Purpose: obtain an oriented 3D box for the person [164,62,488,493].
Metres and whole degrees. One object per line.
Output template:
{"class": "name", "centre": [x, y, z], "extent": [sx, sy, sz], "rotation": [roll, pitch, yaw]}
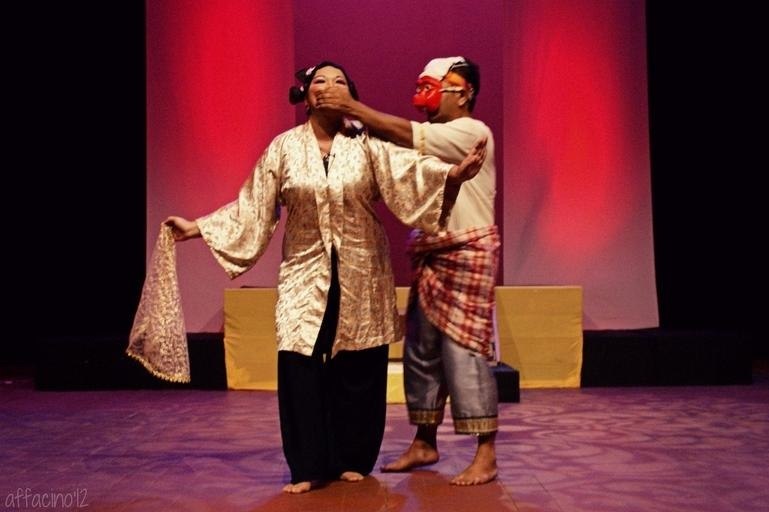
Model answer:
{"class": "person", "centre": [-0.309, 0.090, 4.105], "extent": [1.441, 2.464, 0.464], "rotation": [-1, 4, -9]}
